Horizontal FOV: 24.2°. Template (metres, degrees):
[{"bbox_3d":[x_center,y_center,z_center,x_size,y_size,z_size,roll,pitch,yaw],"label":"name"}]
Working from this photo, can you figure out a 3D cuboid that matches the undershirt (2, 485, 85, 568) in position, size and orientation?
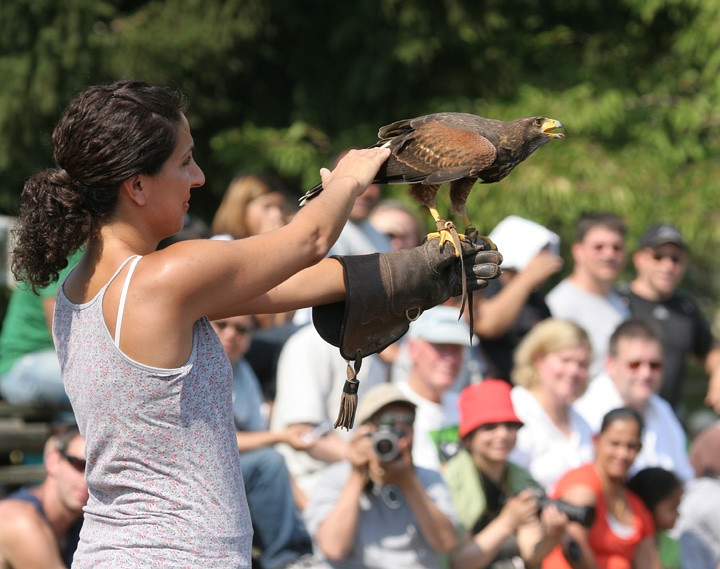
[{"bbox_3d":[-1.899,1.463,10.319,0.400,0.546,0.197,-22,4,17],"label":"undershirt"}]

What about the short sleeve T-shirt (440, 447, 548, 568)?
[{"bbox_3d":[0.733,1.349,10.224,0.514,0.701,0.252,1,-4,-1],"label":"short sleeve T-shirt"}]

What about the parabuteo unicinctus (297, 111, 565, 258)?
[{"bbox_3d":[0.385,-0.693,10.029,1.433,0.919,0.505,12,12,14],"label":"parabuteo unicinctus"}]

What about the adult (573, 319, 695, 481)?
[{"bbox_3d":[1.690,0.737,10.657,0.910,1.061,0.592,4,-6,-20],"label":"adult"}]

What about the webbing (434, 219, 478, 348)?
[{"bbox_3d":[0.514,-0.052,9.176,0.220,0.729,0.200,-2,-24,2],"label":"webbing"}]

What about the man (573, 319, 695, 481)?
[{"bbox_3d":[1.690,0.737,10.657,0.910,1.061,0.592,4,-6,-20],"label":"man"}]
